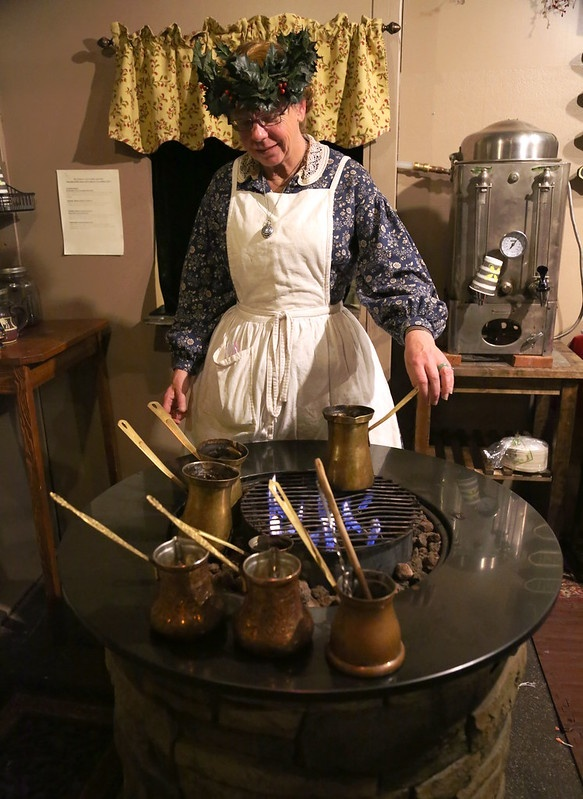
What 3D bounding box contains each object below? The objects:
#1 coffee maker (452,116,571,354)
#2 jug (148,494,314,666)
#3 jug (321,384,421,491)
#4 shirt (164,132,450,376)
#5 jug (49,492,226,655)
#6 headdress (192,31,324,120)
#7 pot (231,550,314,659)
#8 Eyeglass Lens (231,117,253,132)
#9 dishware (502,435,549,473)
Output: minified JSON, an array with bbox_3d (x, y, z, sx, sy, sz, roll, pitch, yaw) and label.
[{"bbox_3d":[0.693,-0.510,2.260,0.364,0.773,0.215,3,14,12],"label":"coffee maker"},{"bbox_3d":[-0.110,0.243,0.973,0.281,0.202,0.102,3,23,17],"label":"jug"},{"bbox_3d":[0.170,0.075,1.428,0.292,0.237,0.120,7,-10,-34],"label":"jug"},{"bbox_3d":[0.030,-0.418,1.920,0.928,0.654,0.417,5,22,12],"label":"shirt"},{"bbox_3d":[-0.246,0.246,1.044,0.323,0.174,0.105,4,16,29],"label":"jug"},{"bbox_3d":[-0.081,-0.806,1.618,0.187,0.148,0.256,-16,31,-34],"label":"headdress"},{"bbox_3d":[-0.022,0.272,0.978,0.146,0.137,0.132,0,18,-1],"label":"pot"},{"bbox_3d":[-0.116,-0.656,1.658,0.046,0.018,0.045,3,18,18],"label":"Eyeglass Lens"},{"bbox_3d":[0.826,0.199,2.436,0.147,0.115,0.102,4,13,17],"label":"dishware"}]
